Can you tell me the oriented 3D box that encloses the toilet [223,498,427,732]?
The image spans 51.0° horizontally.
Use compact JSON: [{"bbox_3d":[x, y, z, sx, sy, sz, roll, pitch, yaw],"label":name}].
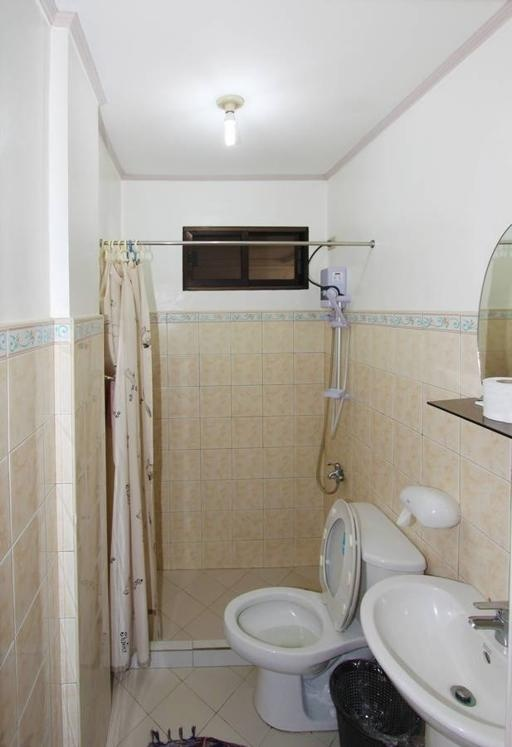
[{"bbox_3d":[0.194,0.893,2.036,0.542,0.824,0.499,0,10,-9],"label":"toilet"}]
